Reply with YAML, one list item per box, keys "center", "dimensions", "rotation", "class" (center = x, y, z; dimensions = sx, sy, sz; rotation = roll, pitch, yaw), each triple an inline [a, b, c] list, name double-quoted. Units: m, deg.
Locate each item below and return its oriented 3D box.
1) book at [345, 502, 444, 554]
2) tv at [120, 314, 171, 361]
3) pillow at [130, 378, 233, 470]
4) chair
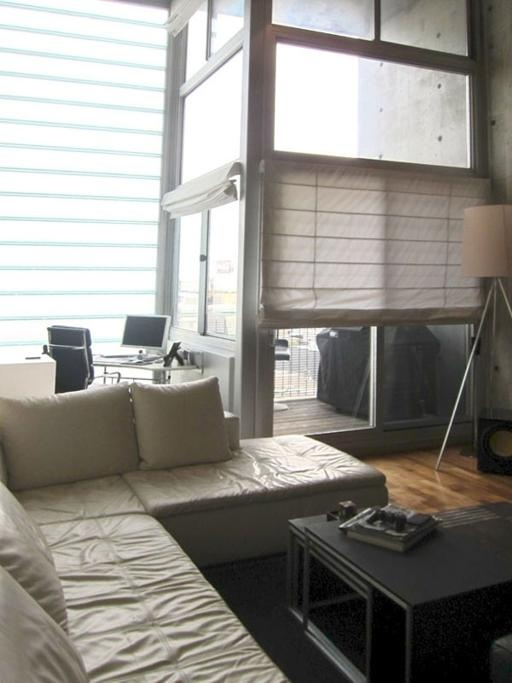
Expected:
- center: [0.492, 0.676, 2.061]
  dimensions: [0.231, 0.069, 0.236]
  rotation: [7, 11, 40]
  class: "book"
- center: [-1.032, -0.050, 5.493]
  dimensions: [0.546, 0.384, 0.146]
  rotation: [3, 1, 33]
  class: "tv"
- center: [-0.395, 0.431, 2.997]
  dimensions: [0.545, 0.432, 0.257]
  rotation: [-1, 12, -30]
  class: "pillow"
- center: [-1.566, 0.282, 5.215]
  dimensions: [0.579, 0.805, 0.580]
  rotation: [4, 1, 6]
  class: "chair"
